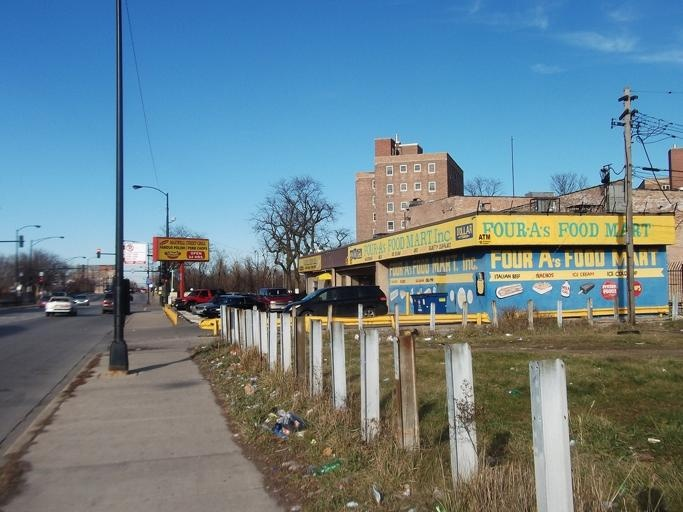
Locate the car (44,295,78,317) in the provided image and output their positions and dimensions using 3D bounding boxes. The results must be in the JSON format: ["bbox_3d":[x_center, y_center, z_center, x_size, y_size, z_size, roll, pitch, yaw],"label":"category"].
[{"bbox_3d":[-19.808,3.635,46.696,1.152,0.925,2.752,0,3,-5],"label":"car"}]

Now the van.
[{"bbox_3d":[-0.089,1.794,26.204,3.692,1.476,1.668,3,-8,-9],"label":"van"}]
